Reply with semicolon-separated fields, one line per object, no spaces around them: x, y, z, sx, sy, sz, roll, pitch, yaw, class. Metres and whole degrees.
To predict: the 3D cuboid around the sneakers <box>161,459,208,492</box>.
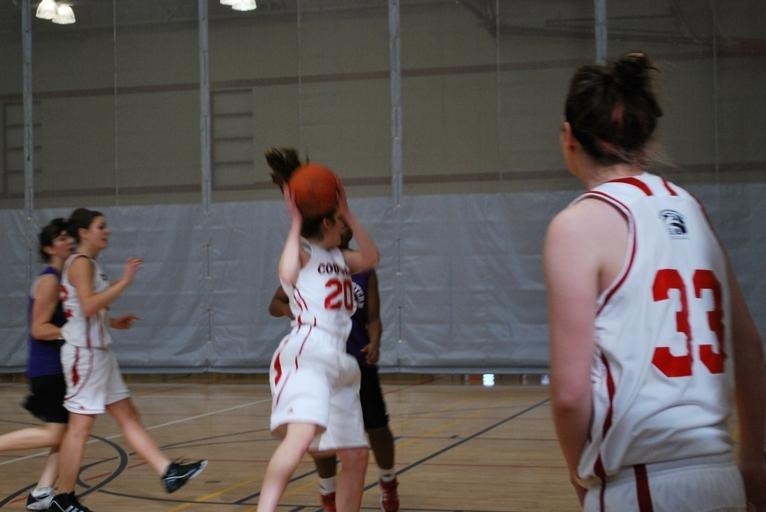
-1.779;1.953;9.654;0.428;0.201;0.138;-33;26;1;sneakers
